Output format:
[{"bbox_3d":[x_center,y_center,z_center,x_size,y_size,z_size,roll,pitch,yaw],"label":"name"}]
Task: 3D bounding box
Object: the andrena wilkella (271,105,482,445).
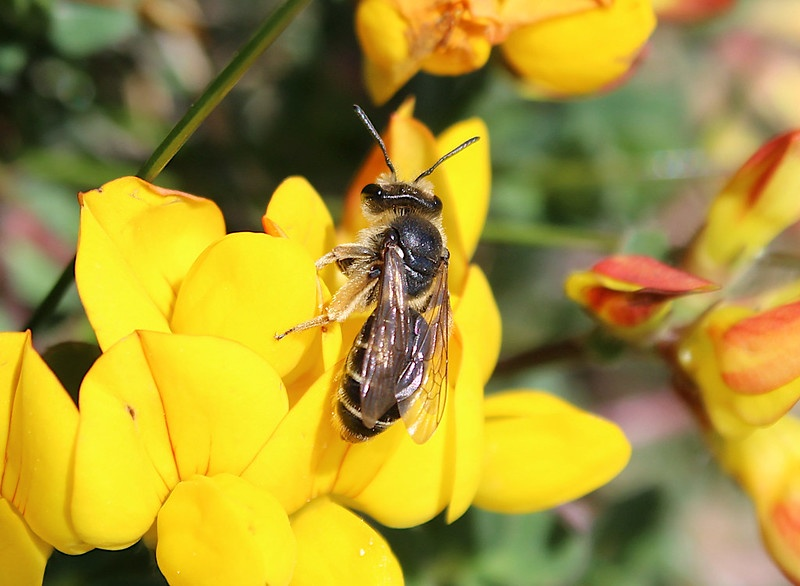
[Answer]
[{"bbox_3d":[-0.017,0.009,0.676,0.141,0.075,0.242,16,69,-41],"label":"andrena wilkella"}]
